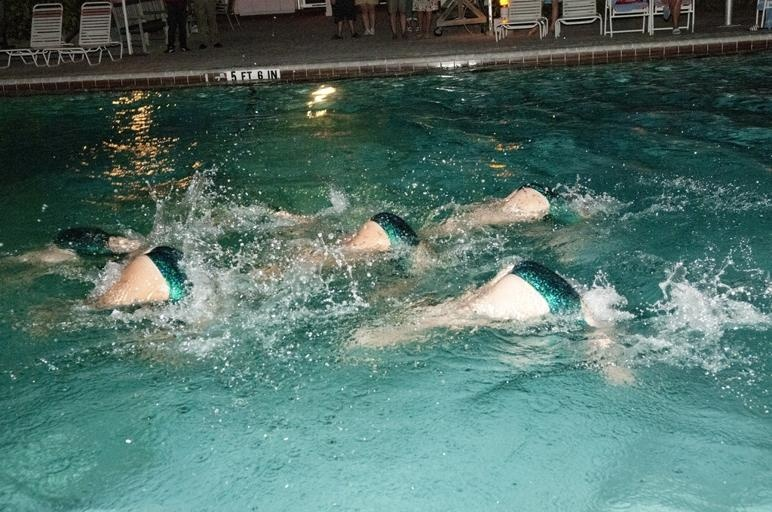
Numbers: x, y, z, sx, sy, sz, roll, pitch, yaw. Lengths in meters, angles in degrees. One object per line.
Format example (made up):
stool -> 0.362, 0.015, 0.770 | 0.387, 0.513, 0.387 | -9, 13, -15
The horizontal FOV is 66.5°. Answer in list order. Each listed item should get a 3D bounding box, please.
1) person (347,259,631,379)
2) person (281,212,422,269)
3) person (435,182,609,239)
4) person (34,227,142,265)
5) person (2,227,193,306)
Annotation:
person -> 0.717, 0.381, 4.313 | 1.175, 0.289, 1.042 | -10, 25, -10
person -> -0.163, -0.055, 5.190 | 0.598, 0.251, 0.877 | -1, -9, 19
person -> 1.238, -0.424, 5.754 | 1.173, 0.318, 0.698 | -11, 35, -16
person -> -2.789, -0.081, 5.511 | 0.771, 0.187, 0.438 | -4, 21, -41
person -> -2.346, 0.267, 4.779 | 1.214, 0.395, 0.858 | 4, 26, -22
